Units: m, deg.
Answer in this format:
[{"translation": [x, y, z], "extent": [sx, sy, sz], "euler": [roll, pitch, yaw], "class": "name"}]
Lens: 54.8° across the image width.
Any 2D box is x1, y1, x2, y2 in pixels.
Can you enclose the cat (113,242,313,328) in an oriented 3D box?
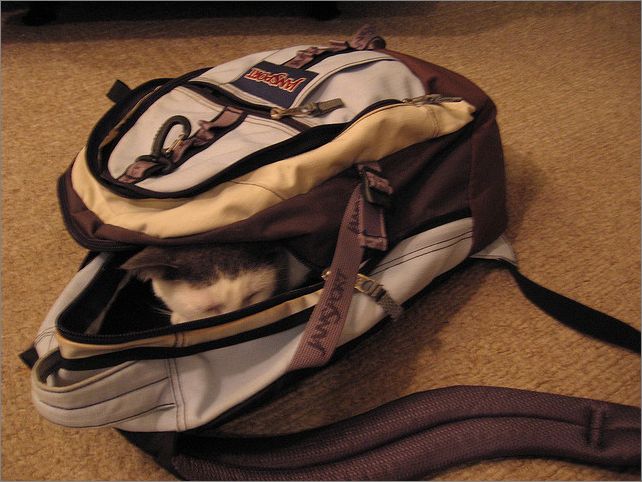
[{"translation": [-0.160, 0.047, 0.974], "extent": [0.241, 0.056, 0.142], "euler": [-21, 61, -11], "class": "cat"}]
